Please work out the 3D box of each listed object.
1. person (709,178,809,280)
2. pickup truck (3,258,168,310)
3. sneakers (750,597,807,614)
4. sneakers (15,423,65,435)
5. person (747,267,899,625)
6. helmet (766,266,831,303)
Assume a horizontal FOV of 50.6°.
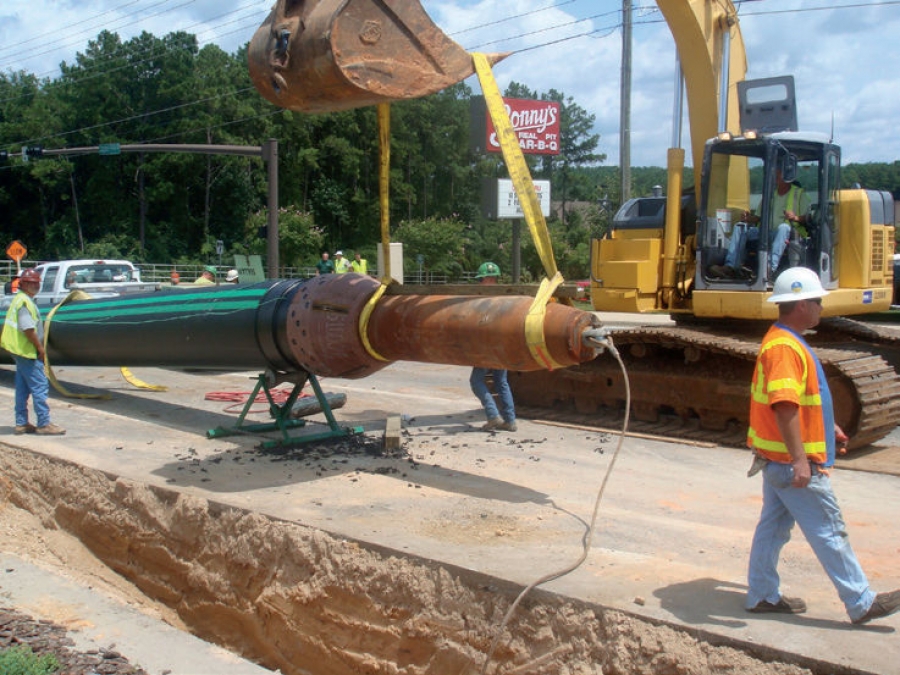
[{"bbox_3d":[3.788,-1.338,11.583,0.924,1.233,0.588,0,6,18],"label":"person"},{"bbox_3d":[-6.485,-1.097,17.798,1.788,1.201,2.949,2,7,30],"label":"pickup truck"},{"bbox_3d":[2.263,1.863,6.614,0.296,0.101,0.151,-4,-1,7],"label":"sneakers"},{"bbox_3d":[-4.645,1.039,10.808,0.541,0.164,0.183,-1,-1,-3],"label":"sneakers"},{"bbox_3d":[2.522,0.720,6.603,0.890,2.392,0.587,0,6,19],"label":"person"},{"bbox_3d":[2.458,-0.367,6.741,0.350,0.164,0.267,-6,8,10],"label":"helmet"}]
